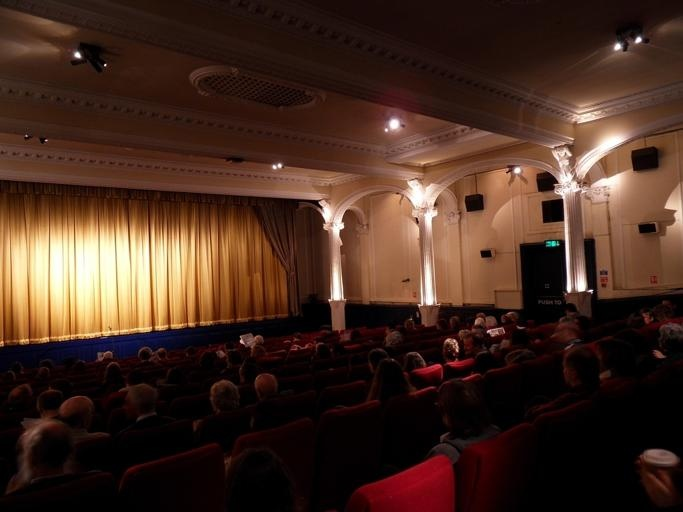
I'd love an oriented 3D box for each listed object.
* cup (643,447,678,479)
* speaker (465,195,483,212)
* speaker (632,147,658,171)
[{"bbox_3d":[1.567,1.012,2.340,0.108,0.112,0.114,-14,7,2],"label":"cup"},{"bbox_3d":[3.418,-1.347,12.339,0.486,0.445,0.342,-8,-5,32],"label":"speaker"},{"bbox_3d":[6.060,-1.923,9.514,0.219,0.414,0.409,-15,6,-37],"label":"speaker"}]
